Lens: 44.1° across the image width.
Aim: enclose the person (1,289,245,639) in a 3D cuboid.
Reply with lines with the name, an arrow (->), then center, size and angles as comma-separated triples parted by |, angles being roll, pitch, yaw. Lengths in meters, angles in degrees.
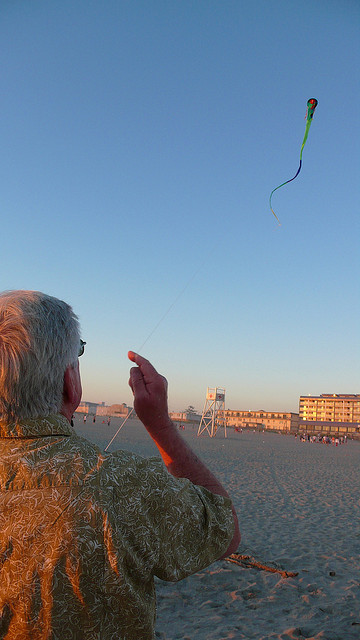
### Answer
person -> -0.207, 0.390, 1.305 | 0.738, 0.915, 0.411 | 6, -11, -6
